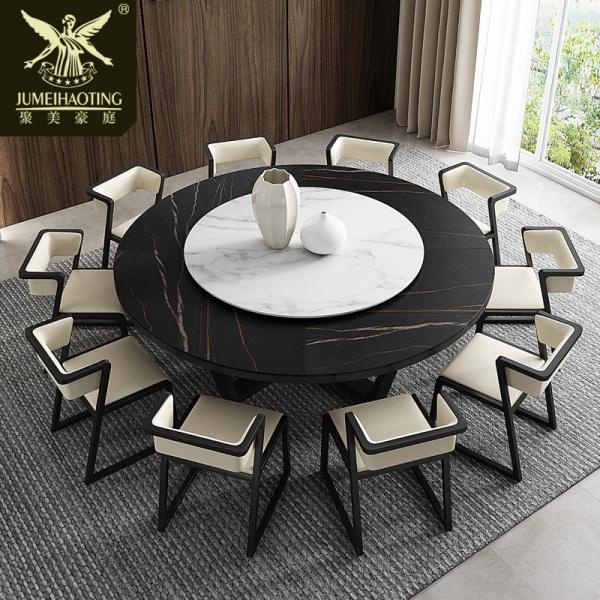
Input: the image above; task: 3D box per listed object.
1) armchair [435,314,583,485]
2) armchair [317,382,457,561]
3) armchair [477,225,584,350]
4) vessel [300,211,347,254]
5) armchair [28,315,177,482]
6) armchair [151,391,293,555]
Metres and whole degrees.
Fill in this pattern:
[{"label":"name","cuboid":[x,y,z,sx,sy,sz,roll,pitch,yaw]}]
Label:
[{"label":"armchair","cuboid":[0.843,0.429,1.943,0.391,0.496,0.300,30,61,27]},{"label":"armchair","cuboid":[0.309,0.524,1.671,0.400,0.514,0.434,-5,29,-3]},{"label":"armchair","cuboid":[1.053,-0.078,2.360,0.574,0.435,0.515,3,28,23]},{"label":"vessel","cuboid":[0.111,-0.281,2.064,0.172,0.149,0.171,18,47,24]},{"label":"armchair","cuboid":[-0.818,0.248,1.916,0.437,0.339,0.483,-21,22,-36]},{"label":"armchair","cuboid":[-0.269,0.522,1.662,0.397,0.523,0.432,15,32,19]}]
